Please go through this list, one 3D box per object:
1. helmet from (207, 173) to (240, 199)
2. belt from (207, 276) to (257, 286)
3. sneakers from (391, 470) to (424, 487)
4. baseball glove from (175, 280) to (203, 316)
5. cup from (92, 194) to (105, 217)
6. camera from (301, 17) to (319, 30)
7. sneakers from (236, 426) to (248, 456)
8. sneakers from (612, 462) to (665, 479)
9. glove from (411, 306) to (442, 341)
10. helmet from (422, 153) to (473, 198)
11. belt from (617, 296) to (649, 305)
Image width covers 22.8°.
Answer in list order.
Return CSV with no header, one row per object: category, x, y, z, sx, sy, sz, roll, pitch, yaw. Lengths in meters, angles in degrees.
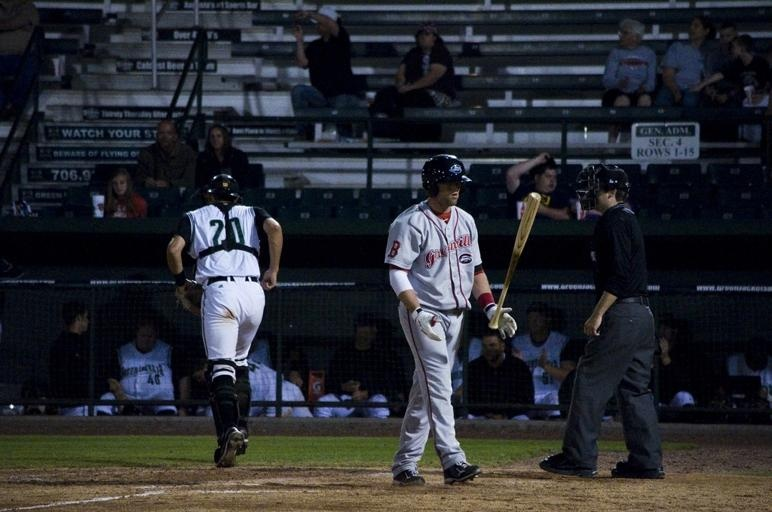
helmet,-2.117,-0.970,25.116,0.302,0.336,0.394,1,16,-12
belt,-1.973,0.290,24.759,0.649,0.117,0.125,0,-3,-5
sneakers,0.283,2.793,24.033,0.458,0.186,0.154,-2,0,7
baseball glove,-2.633,0.513,25.914,0.442,0.160,0.335,43,6,36
cup,-4.304,-0.810,28.959,0.170,0.327,0.191,0,-3,-8
camera,-1.270,-4.084,32.656,0.379,0.236,0.496,2,1,-7
sneakers,-1.826,2.386,24.385,0.126,0.360,0.153,4,43,-4
sneakers,3.204,2.724,24.366,0.582,0.221,0.260,3,-1,7
glove,0.559,0.822,23.990,0.333,0.443,0.193,-41,16,-34
helmet,0.765,-1.105,24.437,0.504,0.502,0.658,-7,1,-37
belt,3.141,0.541,24.446,0.412,0.117,0.071,0,-3,-18
